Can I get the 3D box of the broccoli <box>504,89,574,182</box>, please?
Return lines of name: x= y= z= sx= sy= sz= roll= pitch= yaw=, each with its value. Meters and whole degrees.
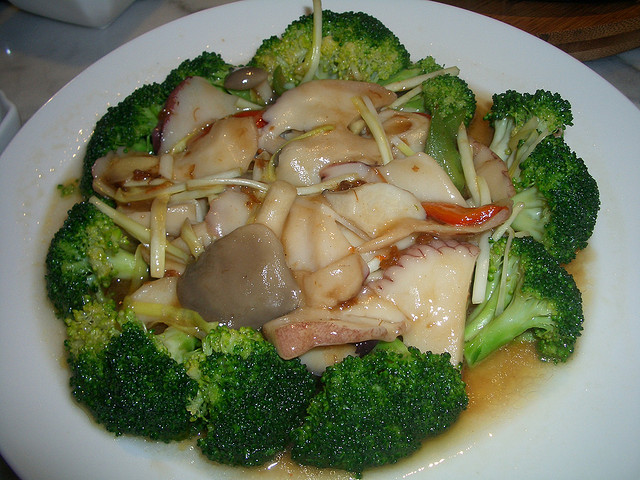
broccoli: x=1.292 y=-0.605 z=3.346 sx=0.295 sy=0.392 sz=0.334 roll=29 pitch=35 yaw=-5

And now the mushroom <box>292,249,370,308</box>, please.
mushroom: x=0.072 y=0.205 z=3.018 sx=0.323 sy=0.141 sz=0.259 roll=-11 pitch=54 yaw=2

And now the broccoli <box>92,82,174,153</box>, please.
broccoli: x=-1.135 y=-0.748 z=3.487 sx=0.316 sy=0.201 sz=0.502 roll=33 pitch=92 yaw=20

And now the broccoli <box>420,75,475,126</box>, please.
broccoli: x=0.868 y=-0.871 z=3.512 sx=0.274 sy=0.273 sz=0.083 roll=14 pitch=69 yaw=30

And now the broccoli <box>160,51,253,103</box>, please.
broccoli: x=-0.757 y=-1.075 z=3.668 sx=0.439 sy=0.135 sz=0.324 roll=38 pitch=45 yaw=17

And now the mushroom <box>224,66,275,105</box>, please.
mushroom: x=-0.458 y=-0.996 z=3.676 sx=0.167 sy=0.191 sz=0.188 roll=-24 pitch=64 yaw=-15
